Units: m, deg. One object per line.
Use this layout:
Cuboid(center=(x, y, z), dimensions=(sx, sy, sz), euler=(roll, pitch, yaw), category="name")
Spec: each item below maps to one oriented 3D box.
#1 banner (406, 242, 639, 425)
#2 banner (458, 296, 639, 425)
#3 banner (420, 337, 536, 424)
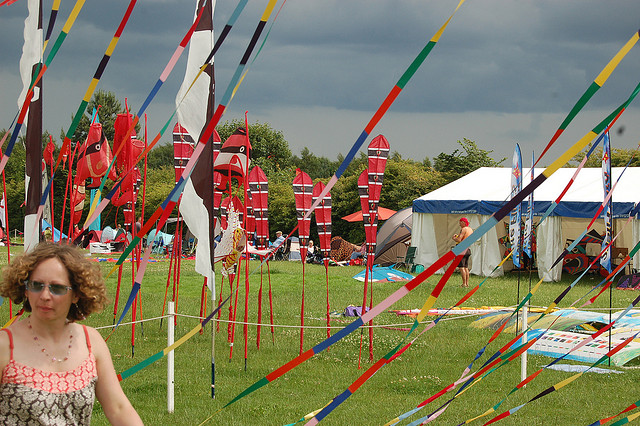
Cuboid(center=(4.752, 2.897, 29.071), dimensions=(6.447, 0.751, 0.721), euler=(-32, 14, -20), category="banner")
Cuboid(center=(5.055, 3.347, 27.439), dimensions=(4.312, 0.438, 0.524), euler=(-32, -9, -3), category="banner")
Cuboid(center=(3.398, 3.645, 26.544), dimensions=(2.579, 0.126, 0.366), euler=(-41, 34, 7), category="banner")
